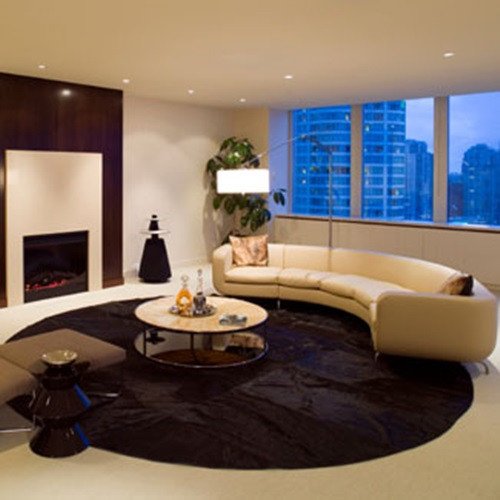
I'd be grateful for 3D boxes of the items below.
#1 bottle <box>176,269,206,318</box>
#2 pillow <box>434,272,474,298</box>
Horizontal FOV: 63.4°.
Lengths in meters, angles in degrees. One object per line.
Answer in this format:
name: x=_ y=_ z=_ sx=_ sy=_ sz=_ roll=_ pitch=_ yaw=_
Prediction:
bottle: x=-0.646 y=0.471 z=4.397 sx=0.375 sy=0.605 sz=0.207 roll=2 pitch=-6 yaw=-24
pillow: x=1.648 y=0.259 z=3.187 sx=0.160 sy=0.090 sz=0.242 roll=7 pitch=12 yaw=33
